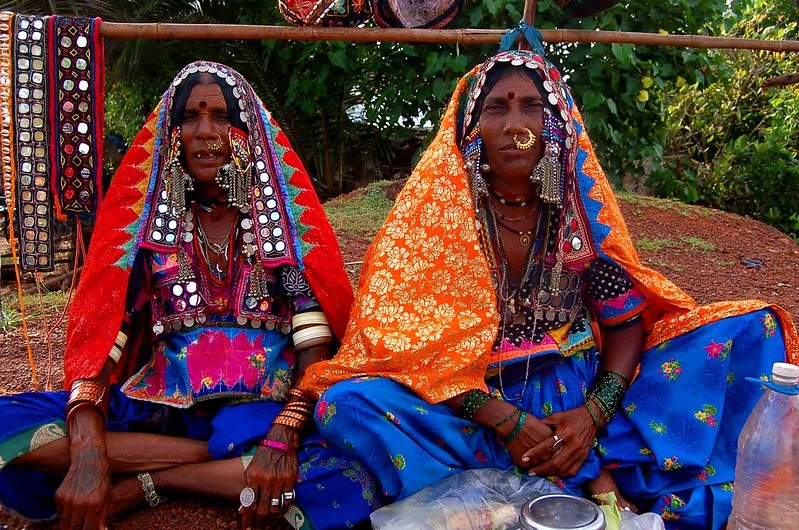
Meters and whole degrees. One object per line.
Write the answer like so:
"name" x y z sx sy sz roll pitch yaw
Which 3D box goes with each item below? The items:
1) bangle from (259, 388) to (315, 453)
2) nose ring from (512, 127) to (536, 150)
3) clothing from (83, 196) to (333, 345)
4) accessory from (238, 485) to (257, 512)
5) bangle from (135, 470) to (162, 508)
"bangle" -0.617 0.864 4.460 0.239 0.333 0.098 25 -23 14
"nose ring" 0.700 -0.714 4.535 0.134 0.119 0.043 -3 10 -25
"clothing" -1.097 0.228 4.912 1.783 1.161 0.726 1 -11 -4
"accessory" -0.824 1.267 4.341 0.096 0.142 0.062 8 11 38
"bangle" -1.394 1.252 4.509 0.145 0.168 0.056 -13 -7 -45
